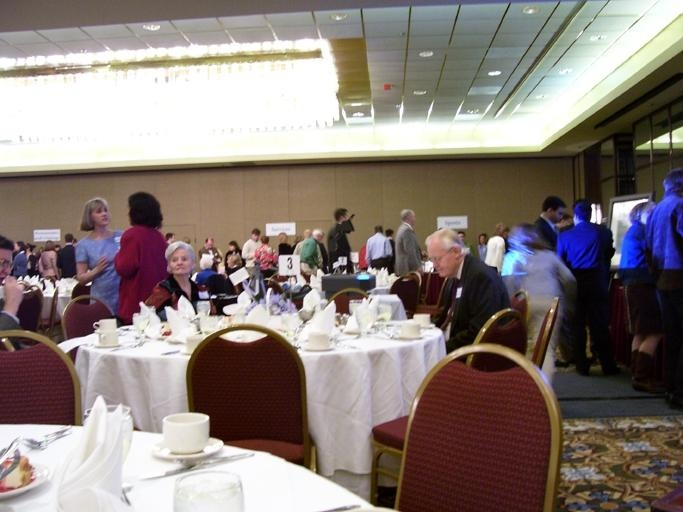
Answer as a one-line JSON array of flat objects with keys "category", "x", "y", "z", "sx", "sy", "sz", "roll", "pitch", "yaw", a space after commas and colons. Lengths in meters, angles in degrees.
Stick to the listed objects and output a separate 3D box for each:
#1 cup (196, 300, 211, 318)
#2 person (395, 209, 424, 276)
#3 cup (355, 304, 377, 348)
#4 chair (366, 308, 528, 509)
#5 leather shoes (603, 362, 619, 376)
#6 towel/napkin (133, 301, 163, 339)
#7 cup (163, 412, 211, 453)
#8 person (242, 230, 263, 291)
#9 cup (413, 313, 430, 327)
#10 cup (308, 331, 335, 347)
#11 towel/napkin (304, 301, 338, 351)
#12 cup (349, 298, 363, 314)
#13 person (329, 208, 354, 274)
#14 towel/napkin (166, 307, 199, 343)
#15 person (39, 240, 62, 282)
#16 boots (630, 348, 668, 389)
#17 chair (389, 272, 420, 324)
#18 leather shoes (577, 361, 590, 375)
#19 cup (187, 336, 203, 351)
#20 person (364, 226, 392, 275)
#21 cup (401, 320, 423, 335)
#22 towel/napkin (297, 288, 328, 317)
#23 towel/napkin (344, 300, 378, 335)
[{"category": "cup", "x": -0.778, "y": 0.297, "z": 3.103, "sx": 0.083, "sy": 0.101, "sz": 0.085, "roll": -2, "pitch": 4, "yaw": 0}, {"category": "person", "x": 0.932, "y": -0.207, "z": 7.527, "sx": 0.330, "sy": 0.958, "sz": 1.054, "roll": 1, "pitch": 0, "yaw": 7}, {"category": "cup", "x": 0.175, "y": 0.391, "z": 3.189, "sx": 0.153, "sy": 0.261, "sz": 0.151, "roll": -2, "pitch": 3, "yaw": 0}, {"category": "chair", "x": 0.669, "y": 0.729, "z": 3.182, "sx": 0.879, "sy": 1.644, "sz": 0.825, "roll": 1, "pitch": 3, "yaw": 32}, {"category": "leather shoes", "x": 2.693, "y": 1.127, "z": 5.417, "sx": 0.113, "sy": 0.098, "sz": 0.122, "roll": -1, "pitch": 0, "yaw": 5}, {"category": "towel/napkin", "x": -1.143, "y": 0.399, "z": 3.235, "sx": 0.134, "sy": 0.252, "sz": 0.237, "roll": -2, "pitch": -6, "yaw": 2}, {"category": "cup", "x": -0.460, "y": 0.520, "z": 1.643, "sx": 0.108, "sy": 0.093, "sz": 0.116, "roll": 2, "pitch": 4, "yaw": 0}, {"category": "person", "x": -1.920, "y": 0.171, "z": 12.120, "sx": 0.429, "sy": 1.643, "sz": 0.531, "roll": 16, "pitch": 26, "yaw": 29}, {"category": "cup", "x": 0.503, "y": 0.389, "z": 3.395, "sx": 0.080, "sy": 0.068, "sz": 0.085, "roll": -1, "pitch": 1, "yaw": 0}, {"category": "cup", "x": -0.107, "y": 0.436, "z": 2.851, "sx": 0.098, "sy": 0.068, "sz": 0.078, "roll": 1, "pitch": -3, "yaw": -2}, {"category": "towel/napkin", "x": -0.111, "y": 0.395, "z": 2.944, "sx": 0.135, "sy": 0.265, "sz": 0.247, "roll": -2, "pitch": -4, "yaw": 11}, {"category": "cup", "x": 0.086, "y": 0.325, "z": 3.483, "sx": 0.080, "sy": 0.100, "sz": 0.082, "roll": 0, "pitch": -2, "yaw": 0}, {"category": "person", "x": 0.000, "y": 0.023, "z": 10.117, "sx": 0.499, "sy": 1.815, "sz": 0.753, "roll": -1, "pitch": -6, "yaw": -3}, {"category": "towel/napkin", "x": -0.903, "y": 0.390, "z": 3.028, "sx": 0.196, "sy": 0.229, "sz": 0.160, "roll": 0, "pitch": -4, "yaw": -6}, {"category": "person", "x": -6.178, "y": 0.395, "z": 11.451, "sx": 0.366, "sy": 1.388, "sz": 0.381, "roll": 0, "pitch": 0, "yaw": -12}, {"category": "boots", "x": 2.699, "y": 1.038, "z": 4.852, "sx": 0.376, "sy": 0.419, "sz": 0.214, "roll": -1, "pitch": -4, "yaw": -2}, {"category": "chair", "x": 0.730, "y": 0.423, "z": 5.999, "sx": 0.342, "sy": 0.621, "sz": 0.402, "roll": 2, "pitch": 0, "yaw": 3}, {"category": "leather shoes", "x": 2.401, "y": 1.116, "z": 5.386, "sx": 0.086, "sy": 0.162, "sz": 0.155, "roll": 1, "pitch": -16, "yaw": 1}, {"category": "cup", "x": -0.740, "y": 0.432, "z": 2.751, "sx": 0.075, "sy": 0.062, "sz": 0.080, "roll": -1, "pitch": 0, "yaw": 0}, {"category": "person", "x": 0.688, "y": 0.150, "z": 9.547, "sx": 0.435, "sy": 1.358, "sz": 0.389, "roll": -2, "pitch": 5, "yaw": 16}, {"category": "cup", "x": 0.381, "y": 0.405, "z": 3.077, "sx": 0.076, "sy": 0.062, "sz": 0.080, "roll": -2, "pitch": -7, "yaw": 0}, {"category": "towel/napkin", "x": -0.218, "y": 0.327, "z": 3.870, "sx": 0.138, "sy": 0.198, "sz": 0.375, "roll": 1, "pitch": 7, "yaw": 0}, {"category": "towel/napkin", "x": 0.131, "y": 0.369, "z": 3.240, "sx": 0.163, "sy": 0.216, "sz": 0.196, "roll": 3, "pitch": -5, "yaw": -35}]
